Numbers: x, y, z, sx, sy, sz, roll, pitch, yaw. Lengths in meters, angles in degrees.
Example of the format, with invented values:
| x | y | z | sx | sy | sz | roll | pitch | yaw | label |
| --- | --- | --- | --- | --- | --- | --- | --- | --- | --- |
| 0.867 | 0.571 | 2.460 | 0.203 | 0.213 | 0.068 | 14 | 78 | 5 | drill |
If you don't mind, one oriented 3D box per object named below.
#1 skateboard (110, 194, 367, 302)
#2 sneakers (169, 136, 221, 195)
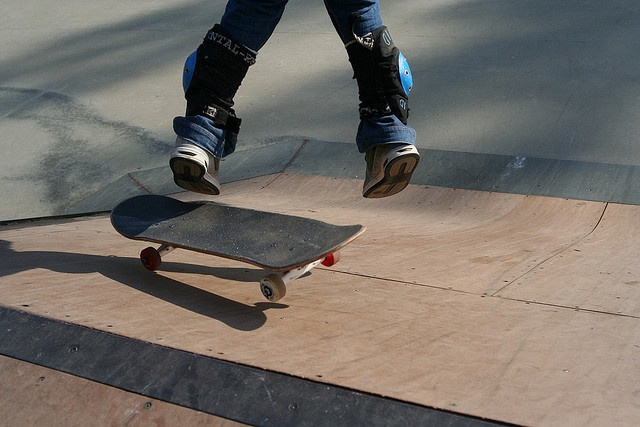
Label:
| x | y | z | sx | sy | sz | roll | pitch | yaw | label |
| --- | --- | --- | --- | --- | --- | --- | --- | --- | --- |
| -0.413 | 0.113 | 2.580 | 1.380 | 0.199 | 0.472 | 8 | 22 | 21 | skateboard |
| -0.630 | -0.234 | 2.708 | 0.204 | 0.396 | 0.138 | -14 | 71 | 19 | sneakers |
